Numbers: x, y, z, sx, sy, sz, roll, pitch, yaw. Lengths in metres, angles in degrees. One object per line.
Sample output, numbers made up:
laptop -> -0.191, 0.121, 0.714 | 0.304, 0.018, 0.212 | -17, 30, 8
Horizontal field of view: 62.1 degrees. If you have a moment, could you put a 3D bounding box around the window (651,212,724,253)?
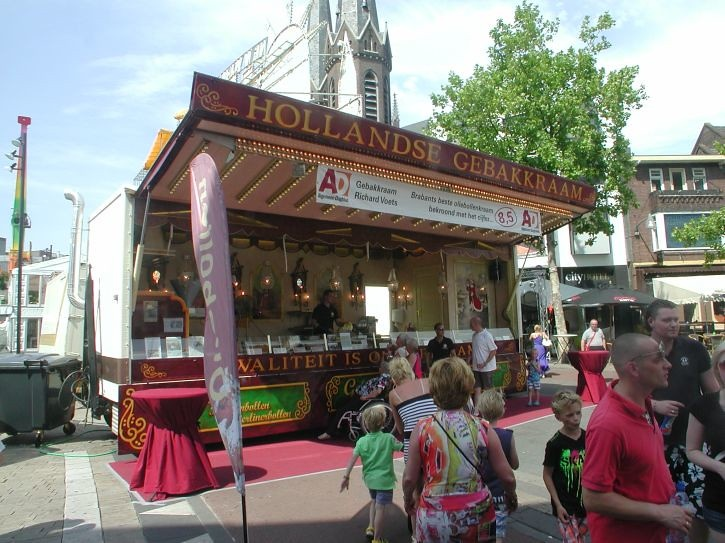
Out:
window -> 14.069, -1.625, 26.198 | 2.333, 1.511, 0.123 | -1, -1, -2

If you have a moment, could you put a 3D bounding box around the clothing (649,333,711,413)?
clothing -> 2.989, 0.990, 5.671 | 0.607, 0.707, 0.380 | 14, -12, -8

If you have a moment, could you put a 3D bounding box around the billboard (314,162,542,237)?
billboard -> 1.035, -1.315, 10.778 | 4.495, 0.524, 0.078 | 14, 3, 23

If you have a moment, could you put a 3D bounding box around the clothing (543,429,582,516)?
clothing -> 2.053, 1.947, 5.882 | 0.464, 0.846, 0.293 | -8, 15, -7

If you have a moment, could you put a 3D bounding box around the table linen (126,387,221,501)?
table linen -> -2.454, 2.200, 8.133 | 1.180, 1.205, 1.188 | 0, 0, 38

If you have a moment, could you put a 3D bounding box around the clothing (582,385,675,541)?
clothing -> 2.052, 1.521, 4.677 | 0.761, 1.212, 0.310 | -1, 1, -17

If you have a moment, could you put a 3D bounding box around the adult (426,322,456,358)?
adult -> 1.575, 1.462, 12.016 | 0.593, 0.875, 0.516 | -2, -8, 5

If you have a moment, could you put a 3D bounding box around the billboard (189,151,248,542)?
billboard -> -1.401, 0.404, 5.815 | 0.210, 3.193, 1.159 | -1, 1, -28

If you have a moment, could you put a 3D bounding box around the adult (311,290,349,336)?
adult -> -0.728, 1.039, 13.596 | 0.759, 1.193, 0.705 | 6, -4, -20

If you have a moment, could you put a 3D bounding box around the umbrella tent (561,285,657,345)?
umbrella tent -> 9.537, 1.491, 22.935 | 2.920, 2.119, 3.054 | 0, 6, 36

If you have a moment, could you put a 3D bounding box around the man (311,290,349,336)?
man -> -0.729, 1.045, 13.611 | 0.777, 1.195, 0.679 | 5, 1, -30

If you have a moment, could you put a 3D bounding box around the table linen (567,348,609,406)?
table linen -> 5.112, 2.357, 13.530 | 0.718, 0.895, 0.777 | -4, 4, -16
